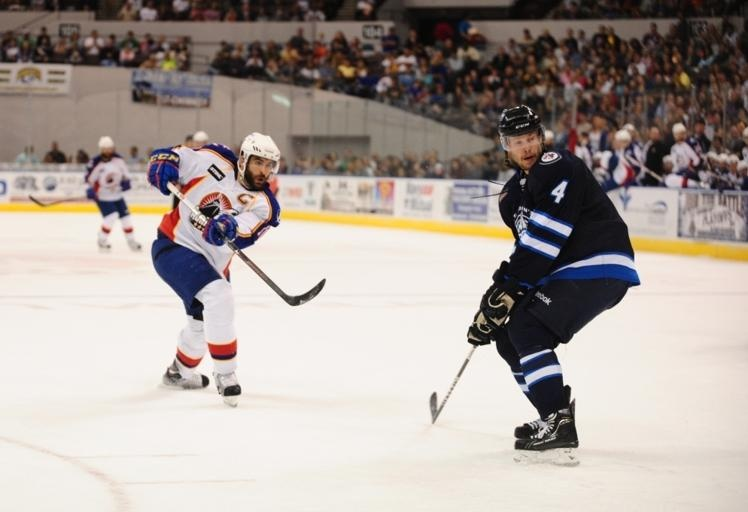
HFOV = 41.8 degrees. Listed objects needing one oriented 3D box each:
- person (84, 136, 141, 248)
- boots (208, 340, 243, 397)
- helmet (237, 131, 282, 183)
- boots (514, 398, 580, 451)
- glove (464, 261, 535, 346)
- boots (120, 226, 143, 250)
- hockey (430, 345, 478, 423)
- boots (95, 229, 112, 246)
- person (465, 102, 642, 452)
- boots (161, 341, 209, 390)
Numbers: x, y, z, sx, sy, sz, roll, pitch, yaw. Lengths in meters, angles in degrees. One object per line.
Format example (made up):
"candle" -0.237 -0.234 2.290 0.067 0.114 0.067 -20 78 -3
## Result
"person" -3.107 -0.749 11.658 0.626 1.314 0.881 -2 9 -16
"boots" -0.967 0.733 6.348 0.147 0.218 0.461 -10 17 -9
"helmet" -0.773 -0.603 6.471 0.261 0.287 0.238 -2 -18 42
"boots" 1.042 1.040 5.885 0.477 0.340 0.173 0 -4 7
"glove" 0.727 0.308 5.919 0.211 0.526 0.298 11 36 -44
"boots" -3.013 -0.215 12.134 0.128 0.315 0.378 -26 37 -31
"hockey" 0.535 0.879 6.588 0.118 0.579 0.070 39 -17 -7
"boots" -3.138 -0.193 11.373 0.138 0.226 0.218 -2 8 -15
"person" 1.037 0.119 5.814 0.944 1.996 0.520 3 9 13
"boots" -1.225 0.793 6.619 0.422 0.290 0.137 2 11 -16
